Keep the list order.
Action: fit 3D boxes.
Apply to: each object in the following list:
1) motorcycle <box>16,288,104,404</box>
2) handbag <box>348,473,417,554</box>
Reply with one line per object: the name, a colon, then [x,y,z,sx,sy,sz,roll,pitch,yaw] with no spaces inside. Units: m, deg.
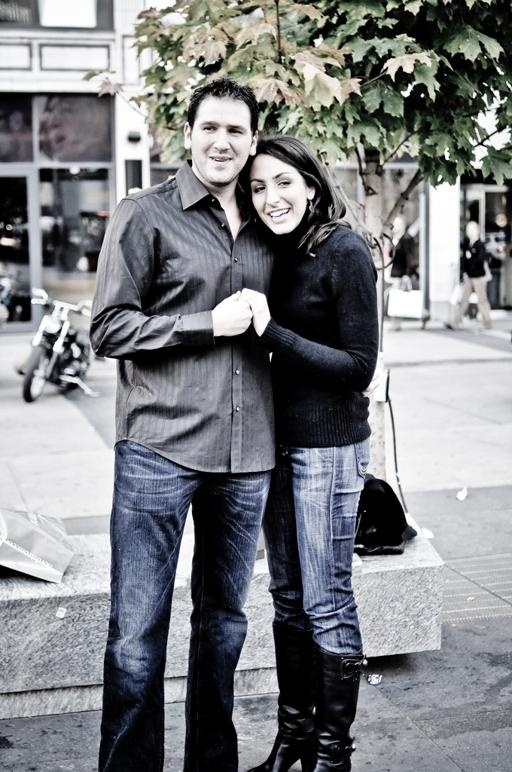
motorcycle: [-2.224,-0.486,10.260,0.893,1.106,1.854,11,9,10]
handbag: [0.464,0.454,3.349,0.272,0.287,0.253,-1,7,19]
